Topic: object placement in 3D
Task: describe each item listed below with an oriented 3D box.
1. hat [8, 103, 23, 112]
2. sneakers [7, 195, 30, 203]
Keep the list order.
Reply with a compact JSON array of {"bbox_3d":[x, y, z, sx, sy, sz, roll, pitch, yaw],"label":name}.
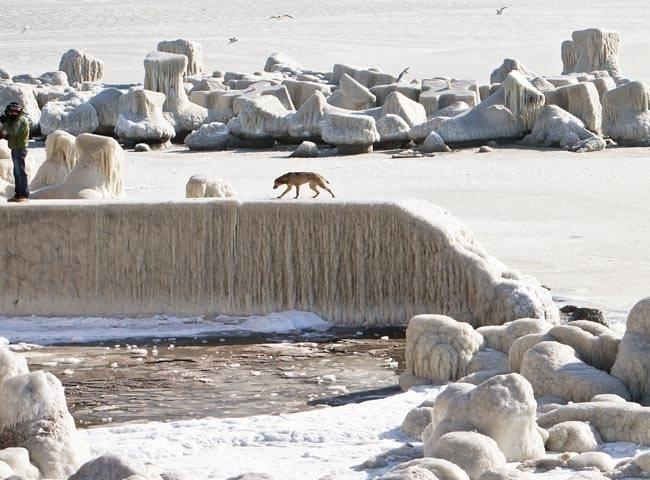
[{"bbox_3d":[-8.537,-3.680,48.512,0.345,0.261,0.320,-5,11,-40],"label":"hat"},{"bbox_3d":[-8.451,-1.114,48.285,0.632,0.259,0.211,-2,10,15],"label":"sneakers"}]
